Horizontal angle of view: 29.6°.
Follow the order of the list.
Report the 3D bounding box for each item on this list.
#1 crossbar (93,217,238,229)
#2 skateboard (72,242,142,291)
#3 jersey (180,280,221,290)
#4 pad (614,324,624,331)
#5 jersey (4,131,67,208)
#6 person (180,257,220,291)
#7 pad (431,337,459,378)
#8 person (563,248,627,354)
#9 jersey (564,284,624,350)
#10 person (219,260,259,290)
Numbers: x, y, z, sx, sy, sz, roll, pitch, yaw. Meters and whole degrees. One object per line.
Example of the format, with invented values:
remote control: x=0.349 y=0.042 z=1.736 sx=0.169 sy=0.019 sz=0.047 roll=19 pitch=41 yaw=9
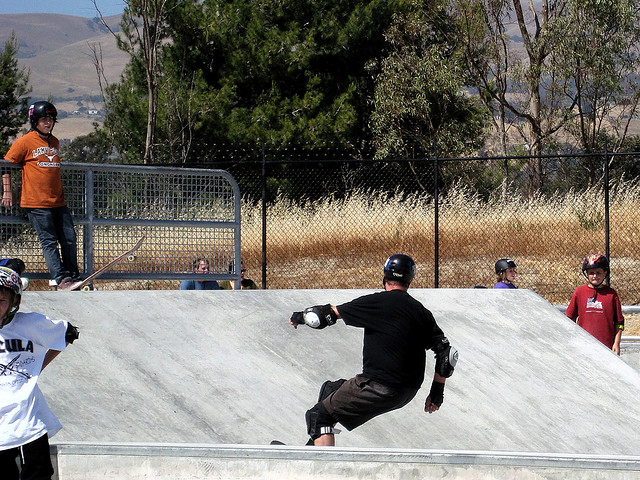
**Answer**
crossbar: x=-2.883 y=-0.333 z=22.749 sx=2.697 sy=0.302 sz=0.172 roll=-2 pitch=6 yaw=-15
skateboard: x=-3.953 y=0.433 z=22.407 sx=1.060 sy=0.162 sz=0.294 roll=-38 pitch=-26 yaw=-15
jersey: x=-2.283 y=0.820 z=23.098 sx=0.738 sy=0.220 sz=0.400 roll=-2 pitch=5 yaw=-6
pad: x=5.565 y=1.613 z=22.648 sx=0.176 sy=0.074 sz=0.142 roll=0 pitch=-1 yaw=-4
jersey: x=-5.146 y=-1.297 z=22.099 sx=0.965 sy=1.385 sz=0.445 roll=-2 pitch=6 yaw=-15
person: x=-2.262 y=0.630 z=22.864 sx=0.701 sy=0.632 sz=0.726 roll=-1 pitch=6 yaw=-6
pad: x=2.050 y=1.945 z=20.319 sx=0.442 sy=0.621 sz=0.278 roll=27 pitch=12 yaw=-5
person: x=5.155 y=1.178 z=22.724 sx=0.984 sy=1.811 sz=0.407 roll=0 pitch=6 yaw=12
jersey: x=5.093 y=1.454 z=22.561 sx=1.025 sy=1.279 sz=0.498 roll=4 pitch=-20 yaw=3
person: x=-1.646 y=0.684 z=23.704 sx=0.641 sy=0.775 sz=2.153 roll=-1 pitch=5 yaw=-5
